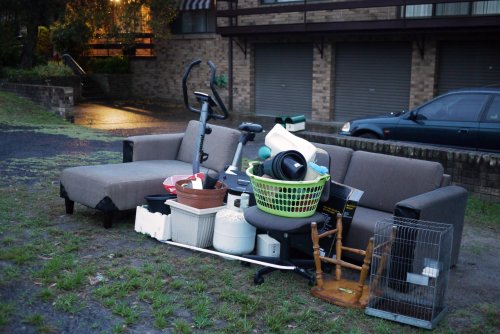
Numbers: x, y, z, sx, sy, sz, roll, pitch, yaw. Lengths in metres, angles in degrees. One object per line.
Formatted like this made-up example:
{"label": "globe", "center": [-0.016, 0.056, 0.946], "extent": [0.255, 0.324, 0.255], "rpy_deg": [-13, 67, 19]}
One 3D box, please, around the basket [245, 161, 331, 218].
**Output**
{"label": "basket", "center": [0.389, 0.240, 4.388], "extent": [0.671, 0.315, 0.581], "rpy_deg": [4, 7, 33]}
